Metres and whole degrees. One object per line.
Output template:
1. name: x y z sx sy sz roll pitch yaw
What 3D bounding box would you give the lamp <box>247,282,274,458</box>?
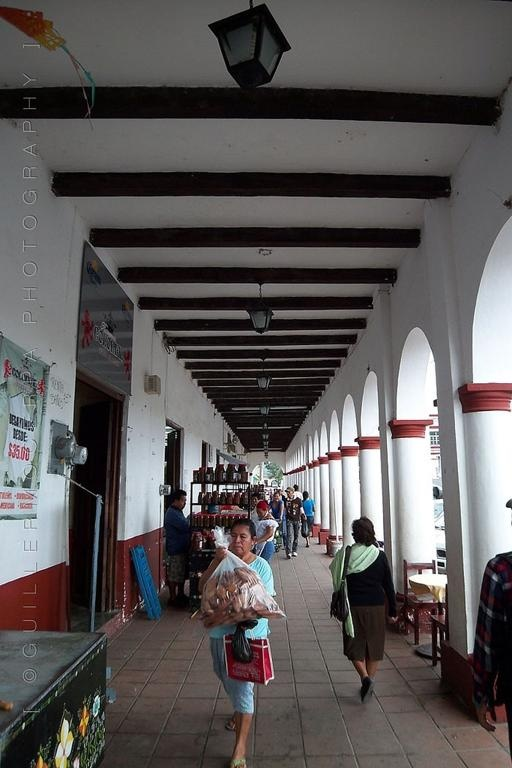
1. lamp: 0.122 -0.050 12.422 0.410 4.994 0.723 5 -4 -10

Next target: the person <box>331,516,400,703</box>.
1. person: 0.845 1.712 3.877 0.514 1.385 0.560 3 -2 3

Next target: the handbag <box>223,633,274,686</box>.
1. handbag: -0.051 1.438 2.465 0.253 0.328 0.101 -11 -5 29

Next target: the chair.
1. chair: 1.815 2.325 5.026 0.488 1.112 0.551 0 -9 -3

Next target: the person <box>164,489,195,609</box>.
1. person: -1.182 2.461 7.156 0.339 1.678 0.489 4 -3 -5

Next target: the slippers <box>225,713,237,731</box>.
1. slippers: -0.161 2.268 3.193 0.053 0.092 0.186 4 -1 3
